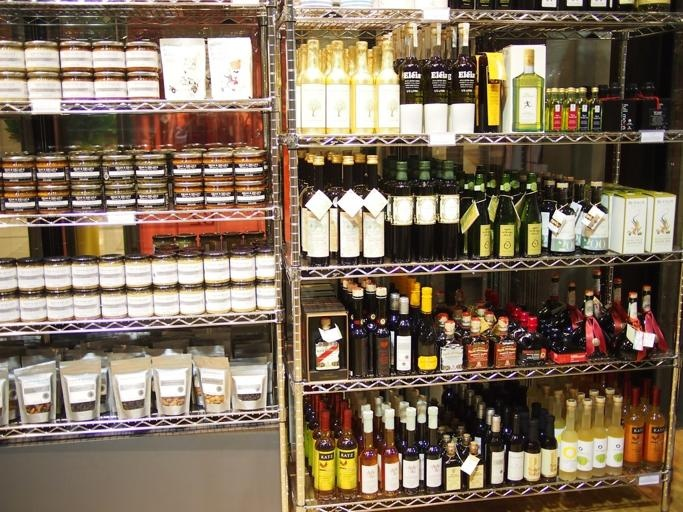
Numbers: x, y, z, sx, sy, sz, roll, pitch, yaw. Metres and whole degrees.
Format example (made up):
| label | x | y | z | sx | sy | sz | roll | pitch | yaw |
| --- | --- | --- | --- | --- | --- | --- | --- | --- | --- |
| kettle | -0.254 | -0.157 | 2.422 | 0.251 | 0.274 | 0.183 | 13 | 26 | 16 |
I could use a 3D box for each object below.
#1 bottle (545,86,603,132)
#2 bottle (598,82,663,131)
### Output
| label | x | y | z | sx | sy | sz | roll | pitch | yaw |
| --- | --- | --- | --- | --- | --- | --- | --- | --- | --- |
| bottle | 1.227 | -0.775 | 4.506 | 0.278 | 0.226 | 0.262 | 1 | 12 | 3 |
| bottle | 1.545 | -0.775 | 4.588 | 0.390 | 0.269 | 0.246 | 0 | 3 | -1 |
